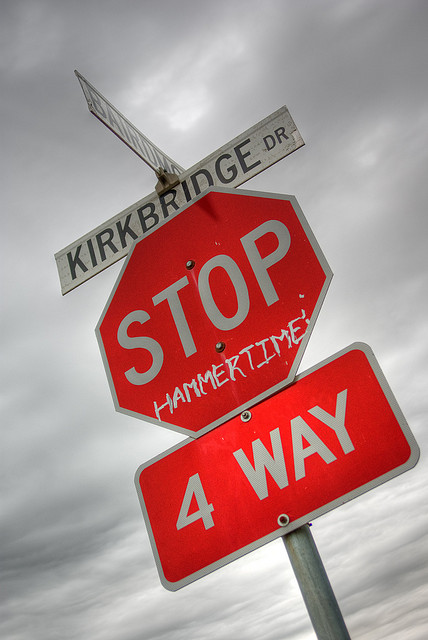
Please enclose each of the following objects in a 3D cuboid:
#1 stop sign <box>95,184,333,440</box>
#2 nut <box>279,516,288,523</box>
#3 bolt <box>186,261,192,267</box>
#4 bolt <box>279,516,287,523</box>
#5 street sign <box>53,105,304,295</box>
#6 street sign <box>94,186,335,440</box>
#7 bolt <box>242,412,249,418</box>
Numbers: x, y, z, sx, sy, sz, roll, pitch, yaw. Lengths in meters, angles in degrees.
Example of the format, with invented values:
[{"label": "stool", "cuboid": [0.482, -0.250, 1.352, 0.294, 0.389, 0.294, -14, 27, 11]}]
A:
[{"label": "stop sign", "cuboid": [-0.017, -0.043, 2.551, 0.908, 0.946, 0.028, -33, -41, 16]}, {"label": "nut", "cuboid": [0.197, 0.565, 2.128, 0.020, 0.017, 0.010, -25, -7, 21]}, {"label": "bolt", "cuboid": [-0.090, -0.197, 2.673, 0.018, 0.017, 0.005, -4, -12, 8]}, {"label": "bolt", "cuboid": [0.198, 0.565, 2.130, 0.017, 0.016, 0.016, 30, -22, -23]}, {"label": "street sign", "cuboid": [-0.190, -0.489, 3.192, 1.276, 0.319, 0.274, -30, -50, 17]}, {"label": "street sign", "cuboid": [0.025, 0.008, 2.466, 0.693, 0.720, 0.053, -31, -41, 20]}, {"label": "bolt", "cuboid": [0.098, 0.293, 2.306, 0.017, 0.016, 0.004, -9, -15, 4]}]
